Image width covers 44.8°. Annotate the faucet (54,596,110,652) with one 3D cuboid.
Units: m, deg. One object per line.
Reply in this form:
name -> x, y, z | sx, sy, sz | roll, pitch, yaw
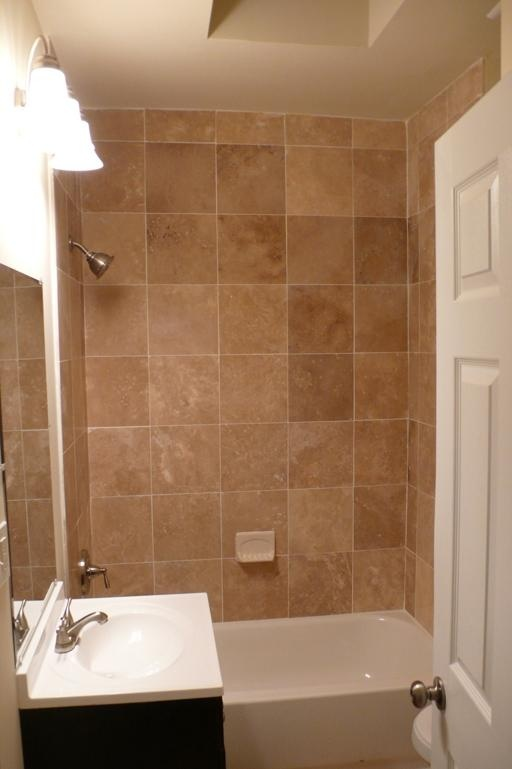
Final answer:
faucet -> -0.461, 0.624, 1.665 | 0.146, 0.143, 0.064 | -3, 4, -40
